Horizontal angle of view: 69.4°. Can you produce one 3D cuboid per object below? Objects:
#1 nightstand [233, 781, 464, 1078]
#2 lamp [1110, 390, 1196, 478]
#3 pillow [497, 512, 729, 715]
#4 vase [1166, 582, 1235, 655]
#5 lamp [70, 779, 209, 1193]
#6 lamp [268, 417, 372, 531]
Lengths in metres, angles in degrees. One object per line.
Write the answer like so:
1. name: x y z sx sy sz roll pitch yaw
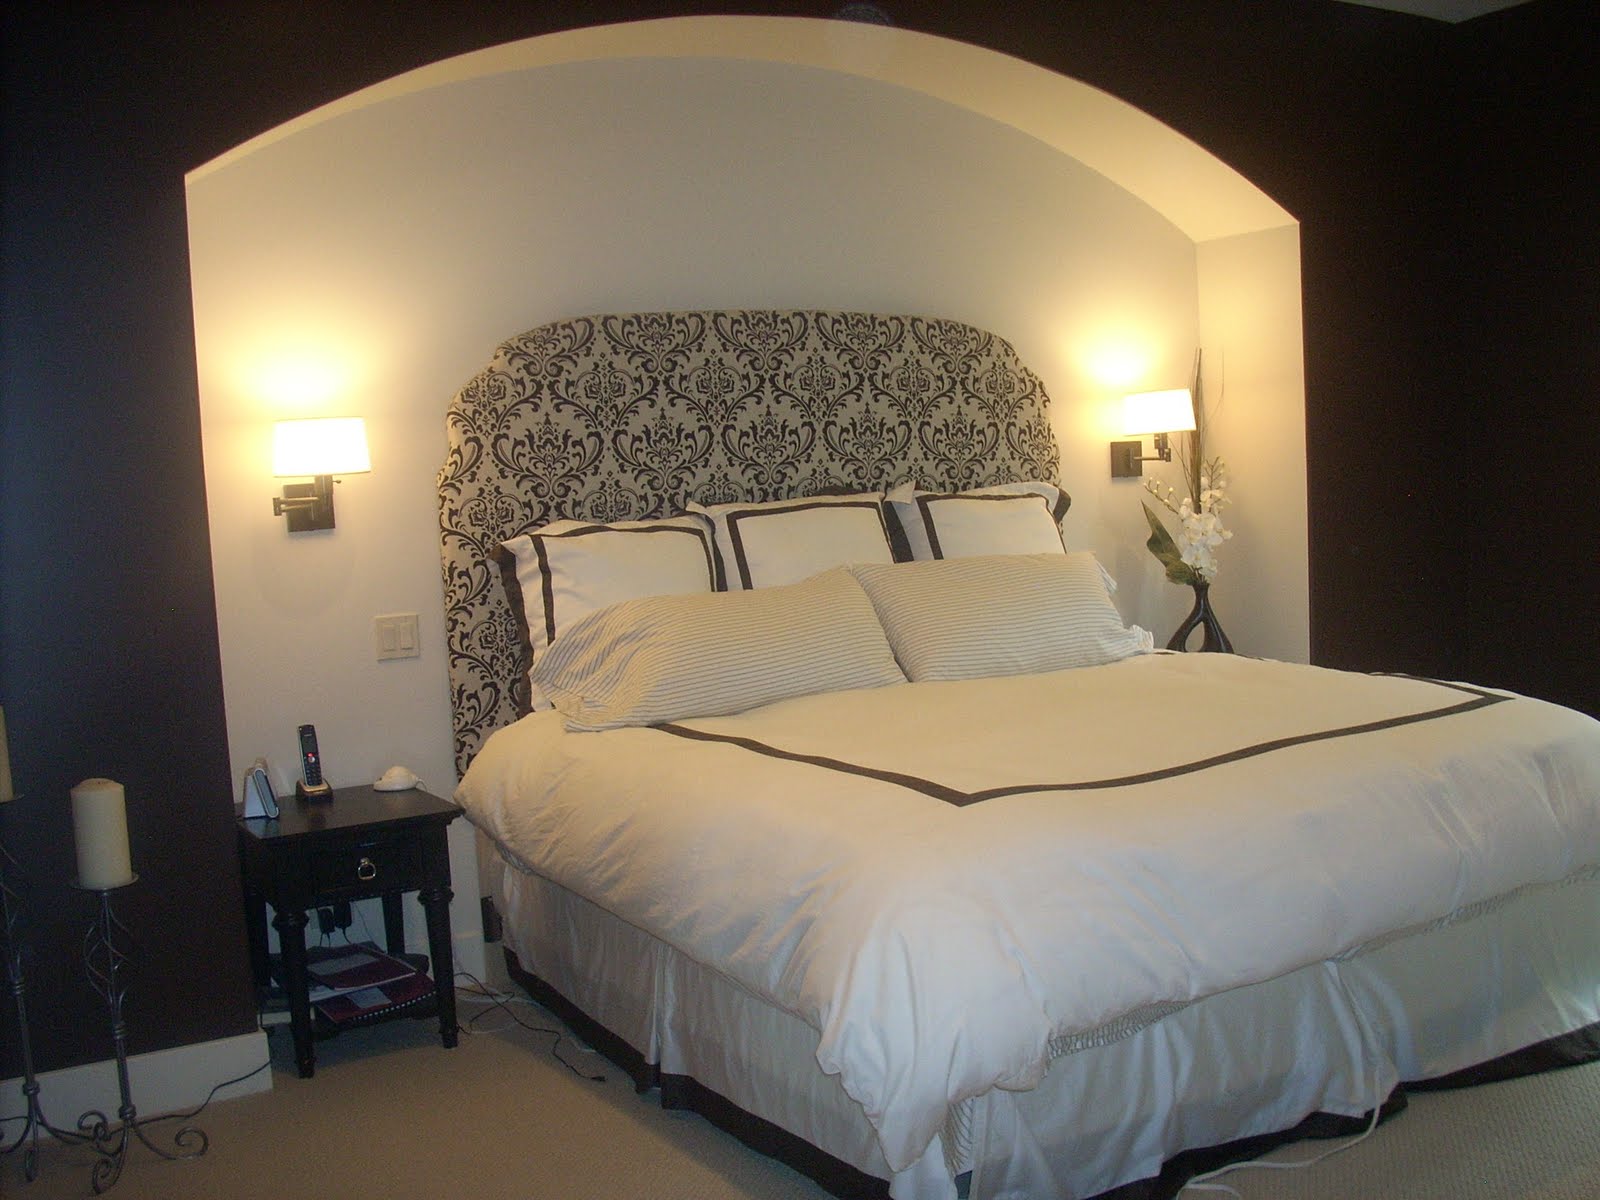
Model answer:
1. nightstand: -1.303 0.958 3.506 0.637 0.727 0.622 -2 6 1
2. lamp: 1.510 -0.687 4.930 0.298 0.357 0.306 -3 0 39
3. pillow: -0.680 0.069 3.928 0.610 0.623 0.189 -3 -16 -14
4. vase: 1.703 0.078 4.921 0.250 0.316 0.116 3 13 38
5. lamp: -1.709 0.918 2.932 0.258 0.965 0.366 -8 8 -33
6. lamp: -1.509 -0.398 3.589 0.304 0.435 0.208 -3 5 -29
